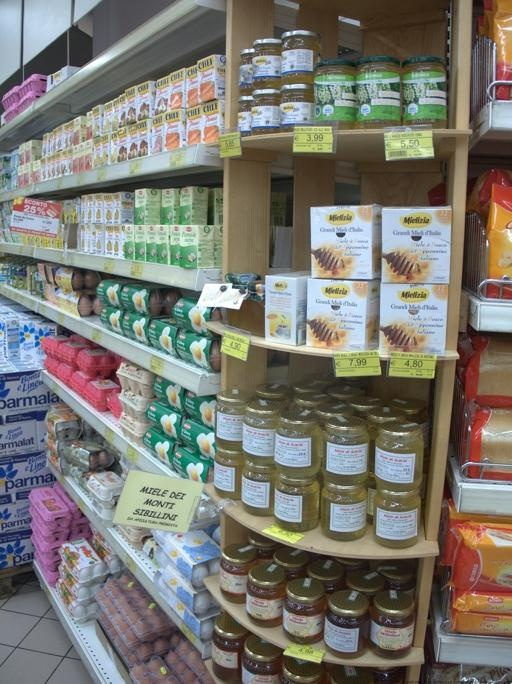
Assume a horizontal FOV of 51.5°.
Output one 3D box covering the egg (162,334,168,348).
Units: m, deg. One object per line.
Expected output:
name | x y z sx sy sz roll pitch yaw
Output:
egg | -0.308 -0.002 1.809 0.011 0.034 0.033 -5 -33 -30

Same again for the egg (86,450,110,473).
egg | -0.790 0.605 2.717 0.105 0.098 0.045 0 -8 -12

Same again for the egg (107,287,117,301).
egg | -0.610 -0.203 2.259 0.017 0.053 0.054 0 -19 -20
